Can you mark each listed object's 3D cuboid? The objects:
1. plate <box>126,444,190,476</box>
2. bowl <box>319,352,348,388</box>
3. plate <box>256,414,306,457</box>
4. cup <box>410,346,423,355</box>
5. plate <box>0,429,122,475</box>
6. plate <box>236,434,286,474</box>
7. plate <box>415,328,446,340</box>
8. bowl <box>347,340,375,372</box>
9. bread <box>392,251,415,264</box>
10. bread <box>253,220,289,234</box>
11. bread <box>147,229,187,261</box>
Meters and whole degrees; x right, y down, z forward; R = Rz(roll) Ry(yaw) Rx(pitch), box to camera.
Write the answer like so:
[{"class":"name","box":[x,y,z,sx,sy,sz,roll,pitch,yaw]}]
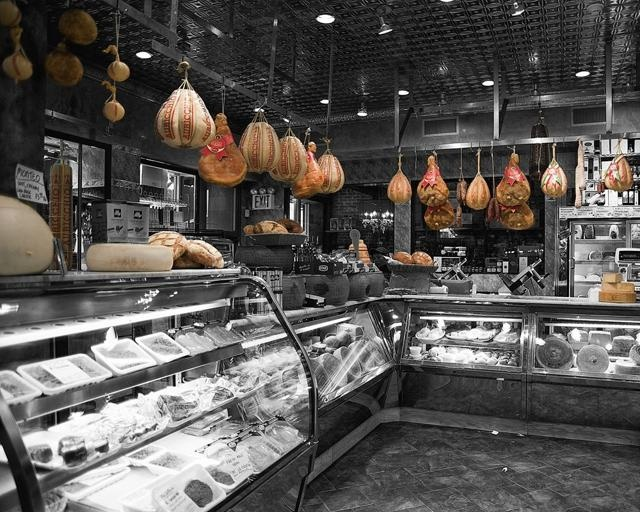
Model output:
[{"class":"plate","box":[-0.701,0.877,2.018,0.168,0.037,0.163,3,3,-31]},{"class":"bowl","box":[0.084,0.843,3.478,0.203,0.219,0.235,2,-1,8]},{"class":"plate","box":[-0.212,0.931,2.432,0.155,0.036,0.158,30,18,34]},{"class":"cup","box":[0.979,0.958,4.727,0.086,0.052,0.088,-3,-6,0]},{"class":"plate","box":[-0.885,0.654,1.625,0.140,0.133,0.271,0,0,39]},{"class":"plate","box":[-0.292,0.956,2.238,0.157,0.036,0.151,6,6,21]},{"class":"plate","box":[1.134,0.798,4.803,0.182,0.057,0.158,0,1,-17]},{"class":"bowl","box":[0.353,0.833,3.992,0.227,0.229,0.232,4,1,0]},{"class":"bread","box":[0.949,0.023,5.338,0.174,0.120,0.214,0,12,-16]},{"class":"bread","box":[-0.388,-0.219,3.556,0.230,0.115,0.462,0,0,-8]},{"class":"bread","box":[-0.715,-0.047,2.163,0.170,0.148,0.386,0,0,-5]}]
